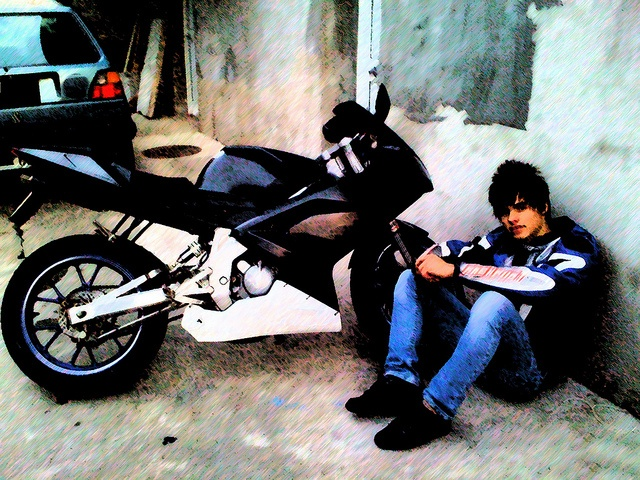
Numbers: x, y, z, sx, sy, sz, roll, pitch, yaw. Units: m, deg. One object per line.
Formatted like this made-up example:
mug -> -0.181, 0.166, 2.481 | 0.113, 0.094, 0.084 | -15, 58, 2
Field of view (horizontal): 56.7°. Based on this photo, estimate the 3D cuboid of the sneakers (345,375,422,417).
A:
sneakers -> 0.365, 0.868, 3.269 | 0.519, 0.179, 0.178 | -10, 0, 30

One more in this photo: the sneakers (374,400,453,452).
sneakers -> 0.472, 0.937, 3.095 | 0.526, 0.184, 0.168 | -15, 38, -2

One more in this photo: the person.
person -> 0.801, 0.348, 3.133 | 0.821, 1.329, 1.153 | 29, 38, 34
